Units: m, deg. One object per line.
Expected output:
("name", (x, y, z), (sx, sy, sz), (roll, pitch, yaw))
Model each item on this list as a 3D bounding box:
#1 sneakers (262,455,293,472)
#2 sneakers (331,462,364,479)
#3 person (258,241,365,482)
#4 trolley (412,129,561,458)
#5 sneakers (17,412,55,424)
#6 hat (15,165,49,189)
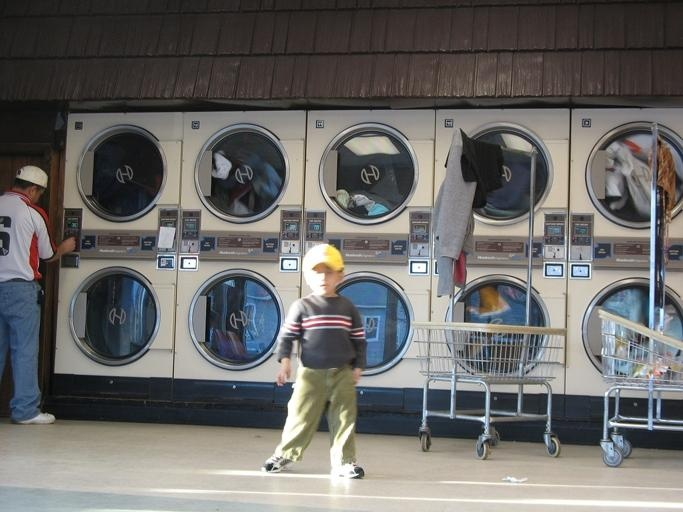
("sneakers", (-0.394, 1.279, 5.185), (0.196, 0.096, 0.074), (2, -4, -7))
("sneakers", (0.045, 1.287, 5.073), (0.155, 0.077, 0.092), (-2, -8, 11))
("person", (-0.144, 0.630, 5.160), (0.604, 1.174, 0.252), (2, -1, -5))
("trolley", (1.083, 0.245, 6.242), (1.148, 1.751, 1.131), (2, 0, -12))
("sneakers", (-2.407, 1.257, 6.623), (0.262, 0.118, 0.091), (-2, 1, -21))
("hat", (-2.520, -0.643, 6.867), (0.219, 0.121, 0.166), (22, 4, 34))
